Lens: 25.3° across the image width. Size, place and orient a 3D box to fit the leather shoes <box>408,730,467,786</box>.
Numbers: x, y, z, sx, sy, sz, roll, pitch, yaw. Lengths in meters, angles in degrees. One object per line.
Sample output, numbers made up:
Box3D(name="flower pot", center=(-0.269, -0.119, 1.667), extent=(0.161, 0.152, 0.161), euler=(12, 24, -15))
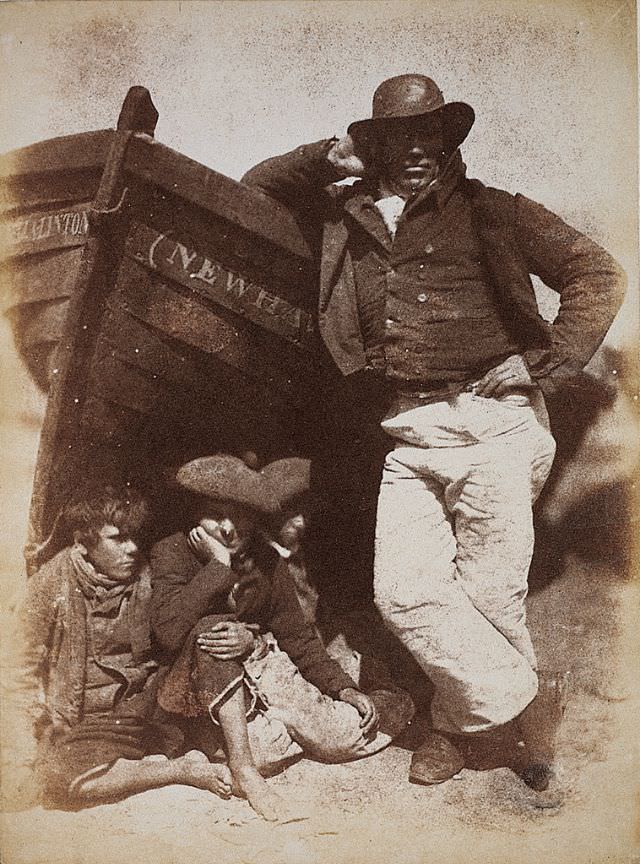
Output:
Box3D(name="leather shoes", center=(0.447, 1.229, 5.369), extent=(0.137, 0.091, 0.222), euler=(2, 11, 26))

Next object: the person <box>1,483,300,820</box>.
Box3D(name="person", center=(-0.589, 0.784, 5.751), extent=(1.098, 1.167, 1.174), euler=(-4, 8, -44))

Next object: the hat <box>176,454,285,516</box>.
Box3D(name="hat", center=(-0.310, 0.218, 5.601), extent=(0.560, 0.165, 0.495), euler=(4, 0, 15))

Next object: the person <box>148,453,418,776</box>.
Box3D(name="person", center=(-0.152, 0.659, 5.525), extent=(1.149, 1.170, 0.942), euler=(3, -1, -9))
